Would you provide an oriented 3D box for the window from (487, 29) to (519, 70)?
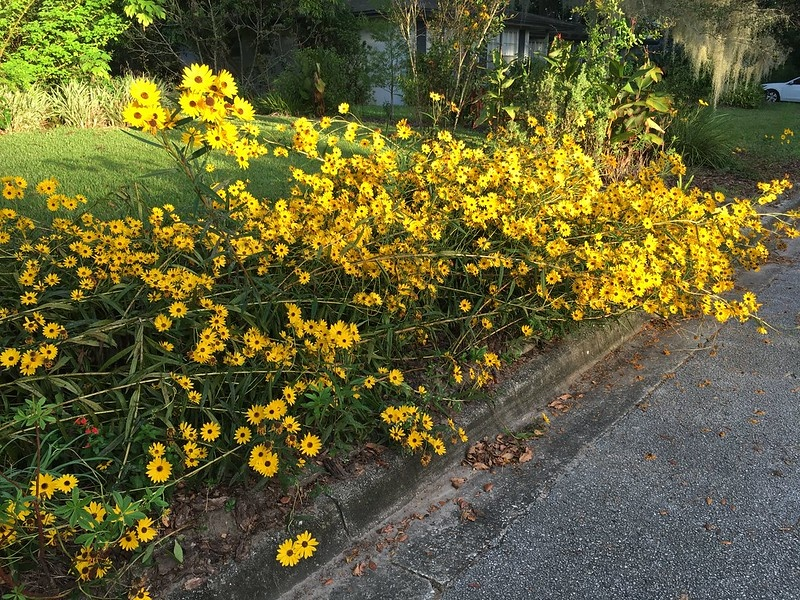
[{"bbox_3d":[4.382,-10.674,24.815,1.427,1.502,0.079,19,38,33],"label":"window"}]
